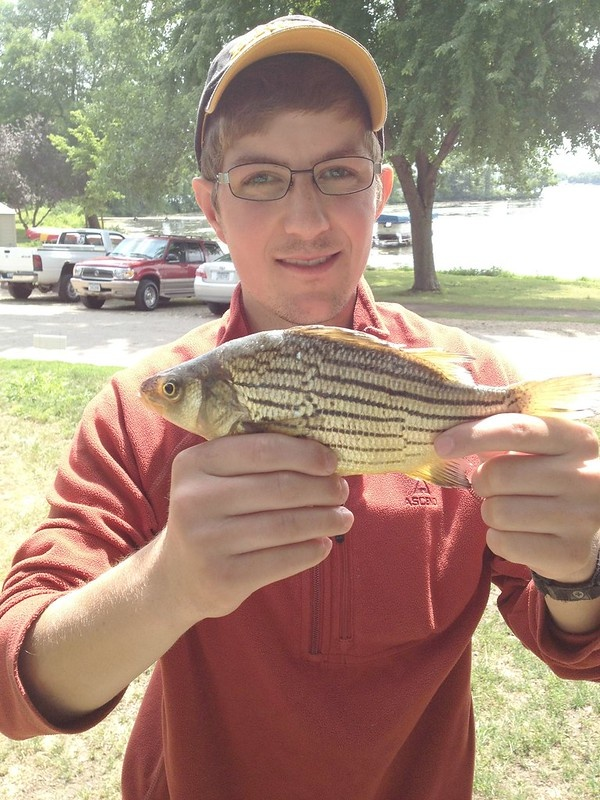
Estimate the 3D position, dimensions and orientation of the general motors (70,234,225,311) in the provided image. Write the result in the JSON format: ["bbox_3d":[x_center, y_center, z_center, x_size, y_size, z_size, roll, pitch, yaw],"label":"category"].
[{"bbox_3d":[-3.696,-3.108,19.122,1.859,1.233,3.092,5,9,37],"label":"general motors"}]

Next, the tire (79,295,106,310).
[{"bbox_3d":[-5.047,-2.397,19.250,0.175,0.402,0.435,5,15,15],"label":"tire"}]

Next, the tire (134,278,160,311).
[{"bbox_3d":[-3.590,-2.516,18.462,0.285,0.702,0.769,8,7,23],"label":"tire"}]

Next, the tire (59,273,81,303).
[{"bbox_3d":[-5.829,-2.880,19.925,0.246,0.630,0.694,14,19,28],"label":"tire"}]
